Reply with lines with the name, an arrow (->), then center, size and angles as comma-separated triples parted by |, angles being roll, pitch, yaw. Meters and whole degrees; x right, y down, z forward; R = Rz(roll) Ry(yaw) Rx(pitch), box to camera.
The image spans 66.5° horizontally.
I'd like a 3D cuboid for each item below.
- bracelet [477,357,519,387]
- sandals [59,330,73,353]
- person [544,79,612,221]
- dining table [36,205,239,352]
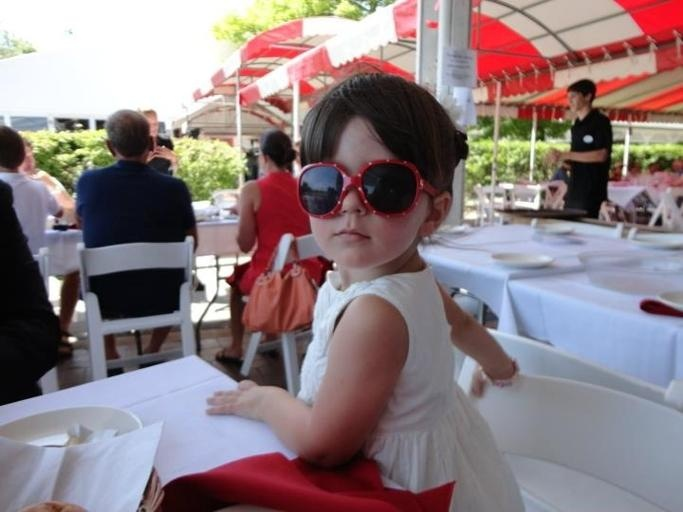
bracelet -> 0.426, 0.328, 1.410 | 0.084, 0.076, 0.035 | 18, 33, -33
sandals -> -2.197, 0.682, 4.151 | 0.088, 0.151, 0.484 | -4, 8, -27
person -> 2.219, -0.950, 4.729 | 0.409, 1.251, 0.779 | 3, 8, 27
dining table -> -1.363, 0.153, 3.438 | 0.802, 1.365, 0.889 | -5, 19, -21
